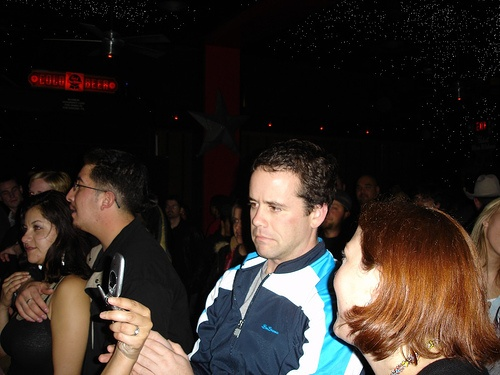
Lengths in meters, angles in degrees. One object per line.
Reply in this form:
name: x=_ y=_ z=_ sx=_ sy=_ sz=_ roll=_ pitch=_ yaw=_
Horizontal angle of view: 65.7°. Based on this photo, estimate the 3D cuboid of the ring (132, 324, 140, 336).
ring: x=-0.431 y=0.538 z=1.454 sx=0.010 sy=0.031 sz=0.027 roll=7 pitch=-24 yaw=-38

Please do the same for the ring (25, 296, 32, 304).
ring: x=-1.340 y=0.678 z=2.335 sx=0.040 sy=0.040 sz=0.013 roll=1 pitch=-7 yaw=-27

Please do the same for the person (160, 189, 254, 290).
person: x=-0.529 y=0.596 z=4.599 sx=1.006 sy=1.007 sz=0.943 roll=-18 pitch=9 yaw=-6
